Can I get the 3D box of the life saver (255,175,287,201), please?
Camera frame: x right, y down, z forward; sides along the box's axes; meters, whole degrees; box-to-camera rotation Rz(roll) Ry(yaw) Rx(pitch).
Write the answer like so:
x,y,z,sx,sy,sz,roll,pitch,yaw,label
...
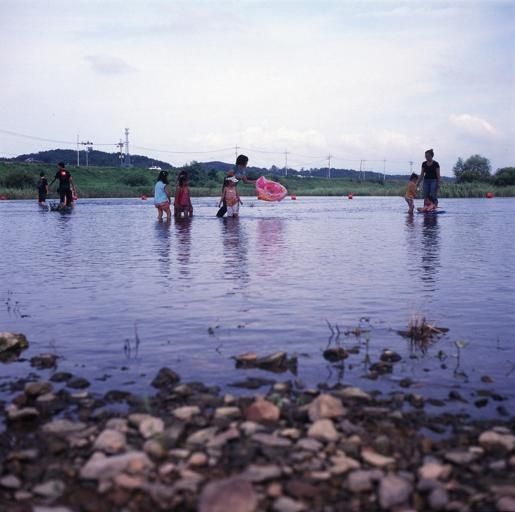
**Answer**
x,y,z,sx,sy,sz,roll,pitch,yaw,label
0.646,-3.019,26.466,1.206,0.680,1.338,29,27,15,life saver
